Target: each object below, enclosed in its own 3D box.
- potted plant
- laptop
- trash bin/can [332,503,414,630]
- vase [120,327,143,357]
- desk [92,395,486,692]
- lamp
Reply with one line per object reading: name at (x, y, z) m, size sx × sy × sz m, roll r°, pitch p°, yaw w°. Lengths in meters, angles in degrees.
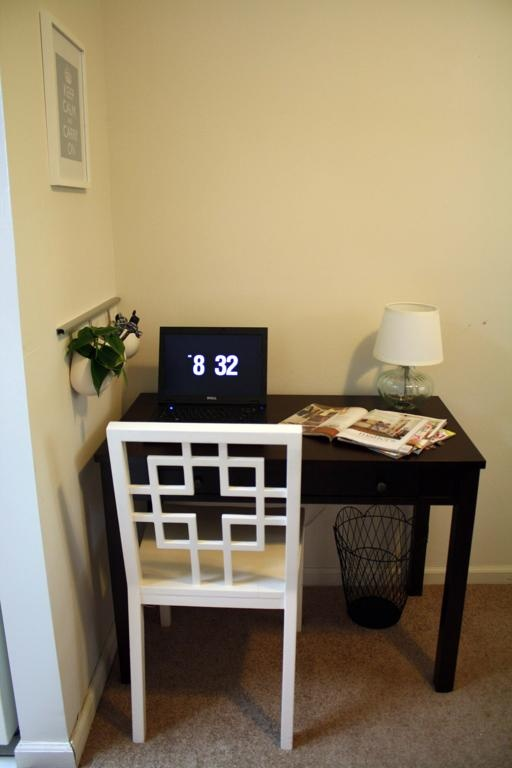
potted plant at (-0.382, -0.059, 1.440) m, size 0.119 × 0.165 × 0.154 m, roll 5°, pitch 11°, yaw 3°
laptop at (-0.121, -0.034, 1.706) m, size 0.318 × 0.275 × 0.222 m, roll 0°, pitch 10°, yaw -7°
trash bin/can at (0.391, 0.667, 2.090) m, size 0.308 × 0.431 × 0.335 m, roll -2°, pitch 18°, yaw -2°
vase at (-0.359, -0.119, 1.695) m, size 0.059 × 0.080 × 0.064 m, roll 1°, pitch 6°, yaw 3°
desk at (0.120, 0.662, 1.932) m, size 1.195 × 1.009 × 0.753 m, roll -1°, pitch 19°, yaw 1°
lamp at (0.452, -0.087, 1.775) m, size 0.203 × 0.333 × 0.205 m, roll 12°, pitch 21°, yaw 32°
